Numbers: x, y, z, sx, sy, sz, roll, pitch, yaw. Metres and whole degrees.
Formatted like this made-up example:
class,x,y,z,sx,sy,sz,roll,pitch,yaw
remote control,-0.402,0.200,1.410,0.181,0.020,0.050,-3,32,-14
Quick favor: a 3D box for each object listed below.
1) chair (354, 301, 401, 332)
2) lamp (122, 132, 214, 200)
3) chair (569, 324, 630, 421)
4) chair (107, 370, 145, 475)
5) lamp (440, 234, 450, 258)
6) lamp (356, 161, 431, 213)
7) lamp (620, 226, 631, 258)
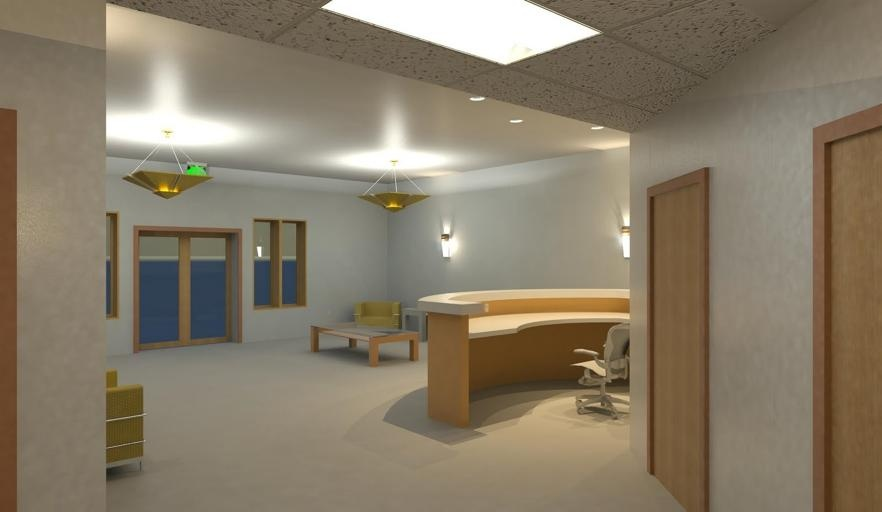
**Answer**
class,x,y,z,sx,sy,sz,roll,pitch,yaw
chair,-1.476,1.348,13.071,1.086,0.826,0.657,-1,-8,13
lamp,-4.401,-1.473,8.998,1.229,1.072,1.232,1,-2,-21
chair,2.147,1.405,7.434,0.686,1.243,1.267,1,5,17
chair,-3.105,1.673,5.489,0.334,0.741,0.184,-4,6,-31
lamp,0.096,-0.256,12.982,0.280,0.567,0.121,5,8,44
lamp,-0.932,-1.437,11.374,1.460,1.118,1.401,-1,5,-14
lamp,3.257,-0.257,9.899,0.059,0.583,0.210,-2,6,-14
